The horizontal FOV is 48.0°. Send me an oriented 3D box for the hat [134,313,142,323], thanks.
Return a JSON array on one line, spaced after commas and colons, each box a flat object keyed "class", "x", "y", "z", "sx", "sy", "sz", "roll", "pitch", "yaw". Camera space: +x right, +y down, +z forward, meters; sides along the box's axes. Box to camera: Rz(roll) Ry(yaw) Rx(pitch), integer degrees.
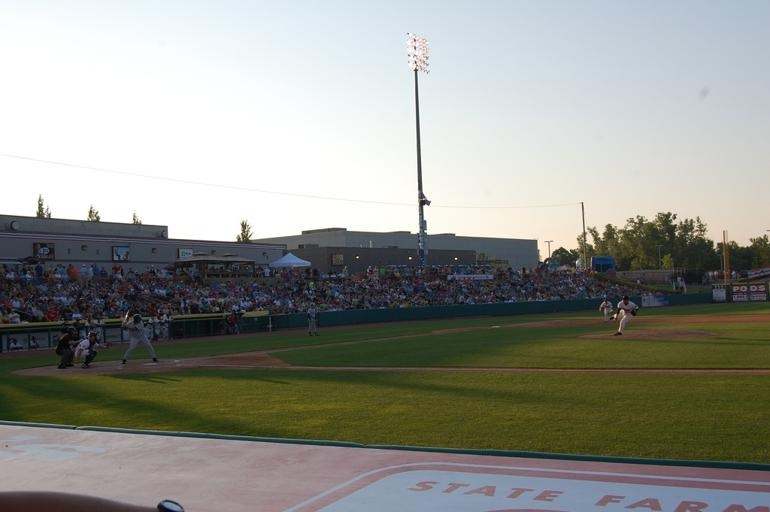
[{"class": "hat", "x": -9.277, "y": 2.364, "z": 32.375, "sx": 0.287, "sy": 0.344, "sz": 0.350, "roll": 3, "pitch": 7, "yaw": -8}]
